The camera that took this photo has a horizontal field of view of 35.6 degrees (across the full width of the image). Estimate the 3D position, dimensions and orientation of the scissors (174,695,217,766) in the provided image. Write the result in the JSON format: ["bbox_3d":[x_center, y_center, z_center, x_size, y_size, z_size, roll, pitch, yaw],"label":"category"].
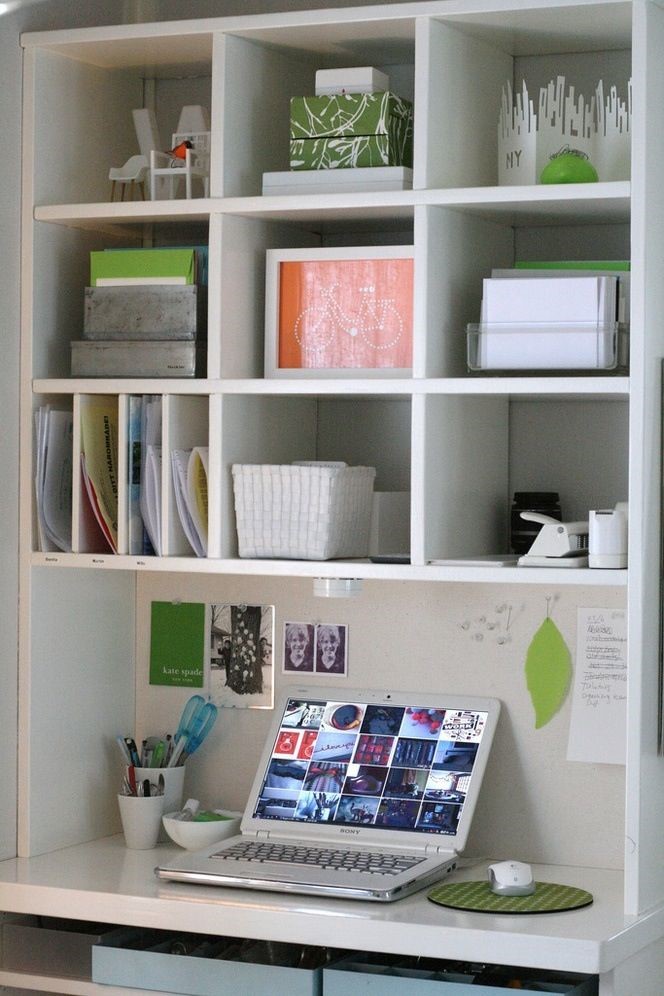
[{"bbox_3d":[-0.254,0.423,1.945,0.047,0.167,0.023,18,1,23],"label":"scissors"}]

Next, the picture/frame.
[{"bbox_3d":[0.012,-0.283,1.589,0.201,0.156,0.016,1,2,19],"label":"picture/frame"}]

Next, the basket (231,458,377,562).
[{"bbox_3d":[-0.057,0.018,1.614,0.159,0.132,0.164,-1,-1,25],"label":"basket"}]

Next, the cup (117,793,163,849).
[{"bbox_3d":[-0.336,0.569,1.825,0.085,0.098,0.083,3,-7,0],"label":"cup"}]

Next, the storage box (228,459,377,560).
[{"bbox_3d":[-0.060,0.018,1.606,0.159,0.130,0.163,0,0,26],"label":"storage box"}]

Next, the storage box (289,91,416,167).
[{"bbox_3d":[0.023,-0.543,1.542,0.175,0.120,0.086,-6,10,-2],"label":"storage box"}]

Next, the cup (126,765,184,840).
[{"bbox_3d":[-0.322,0.540,1.844,0.106,0.129,0.118,0,-11,4],"label":"cup"}]

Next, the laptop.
[{"bbox_3d":[0.004,0.373,1.631,0.355,0.222,0.344,-4,-3,28],"label":"laptop"}]

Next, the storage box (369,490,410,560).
[{"bbox_3d":[0.092,0.045,1.708,0.032,0.096,0.101,-1,-3,16],"label":"storage box"}]

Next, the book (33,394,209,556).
[{"bbox_3d":[-0.337,-0.035,1.682,0.245,0.248,0.085,1,1,18],"label":"book"}]
